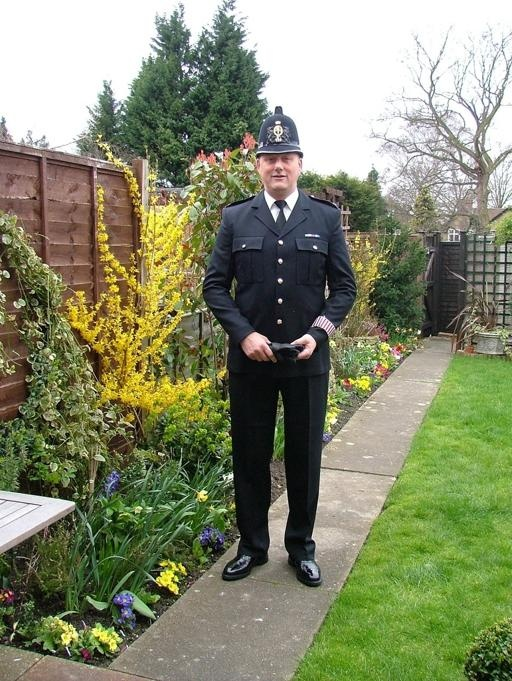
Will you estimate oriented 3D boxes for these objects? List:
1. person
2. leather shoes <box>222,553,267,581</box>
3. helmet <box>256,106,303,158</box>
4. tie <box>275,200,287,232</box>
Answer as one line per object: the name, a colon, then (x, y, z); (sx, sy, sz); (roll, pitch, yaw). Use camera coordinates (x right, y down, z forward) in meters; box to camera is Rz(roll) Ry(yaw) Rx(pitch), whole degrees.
person: (0.096, 0.013, 2.212); (0.479, 1.813, 0.495); (6, 4, 42)
leather shoes: (-0.031, 0.885, 2.227); (0.065, 0.082, 0.196); (0, -7, 39)
helmet: (0.080, -0.775, 2.108); (0.180, 0.182, 0.249); (-2, 15, -1)
tie: (0.089, -0.469, 2.107); (0.045, 0.117, 0.053); (3, 3, -1)
